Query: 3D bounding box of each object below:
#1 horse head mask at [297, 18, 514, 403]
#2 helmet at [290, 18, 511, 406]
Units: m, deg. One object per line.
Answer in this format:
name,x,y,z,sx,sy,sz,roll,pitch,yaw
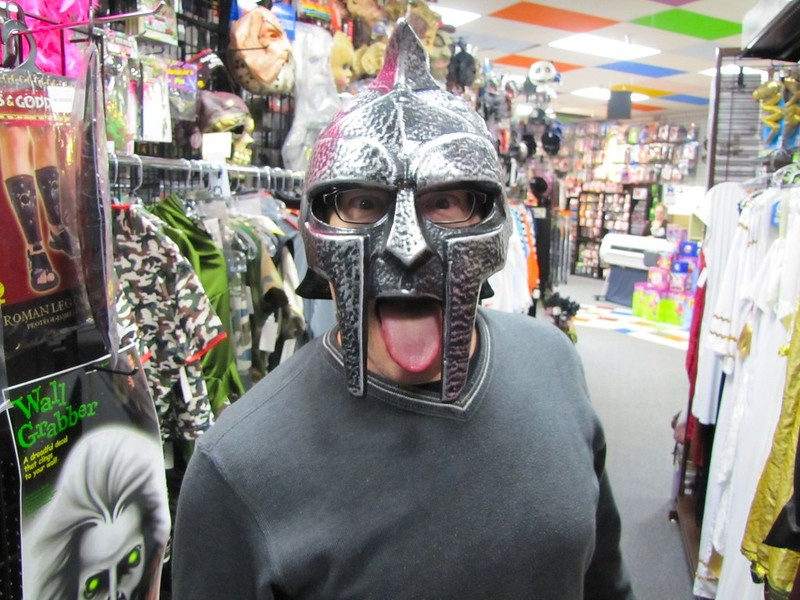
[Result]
horse head mask,0.030,-0.115,1.201,0.385,0.619,0.565,2,28,-8
helmet,0.025,-0.126,1.223,0.391,0.616,0.570,2,28,-8
